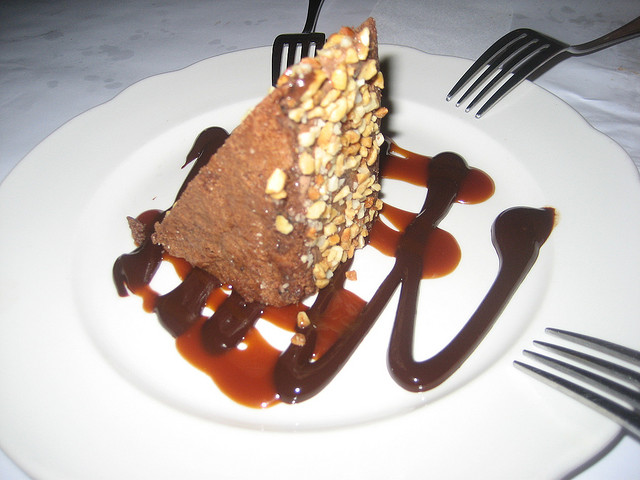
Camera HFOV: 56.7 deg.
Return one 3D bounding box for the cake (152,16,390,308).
[{"bbox_3d":[-0.097,-0.255,1.714,0.630,0.774,0.543,-34,64,-29],"label":"cake"}]
